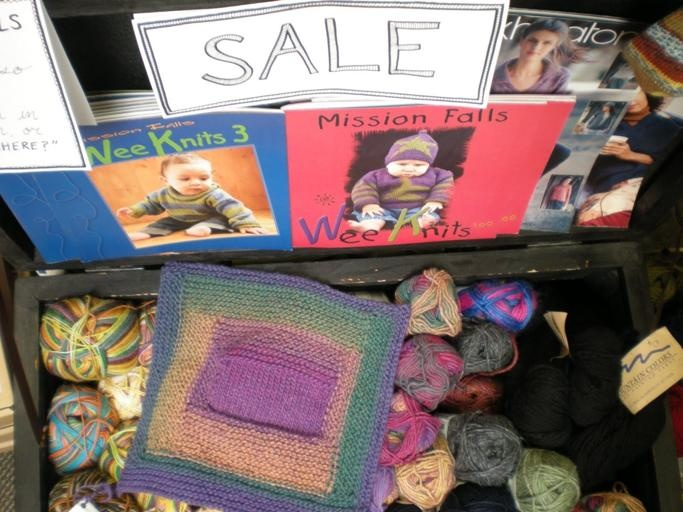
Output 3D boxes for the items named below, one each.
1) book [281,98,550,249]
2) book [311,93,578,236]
[{"bbox_3d":[0.116,-0.145,0.973,0.454,0.223,0.036,-2,53,-3],"label":"book"},{"bbox_3d":[0.162,-0.158,0.963,0.435,0.233,0.028,-1,54,-4],"label":"book"}]
